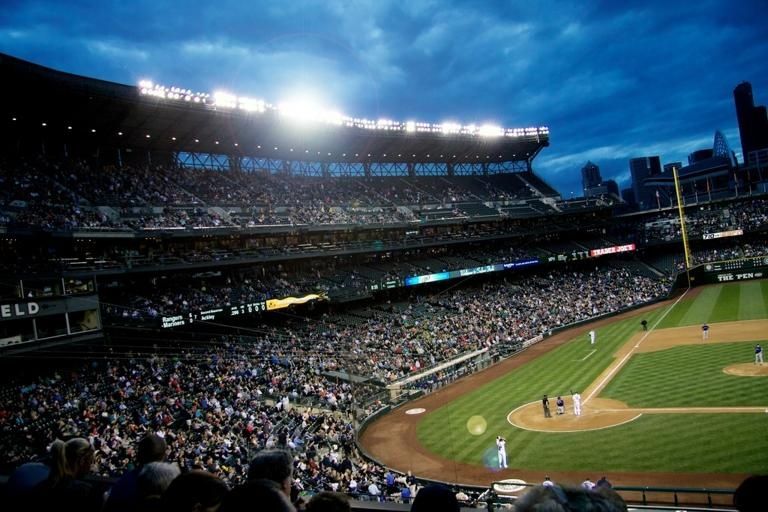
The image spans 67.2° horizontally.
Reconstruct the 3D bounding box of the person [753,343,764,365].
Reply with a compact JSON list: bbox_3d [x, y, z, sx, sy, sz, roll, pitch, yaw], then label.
[{"bbox_3d":[27.230,6.896,42.423,0.609,1.462,2.896,-7,6,32],"label":"person"}]

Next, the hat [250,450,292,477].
[{"bbox_3d":[-3.931,7.202,20.422,0.973,1.025,1.204,-1,4,5],"label":"hat"}]
